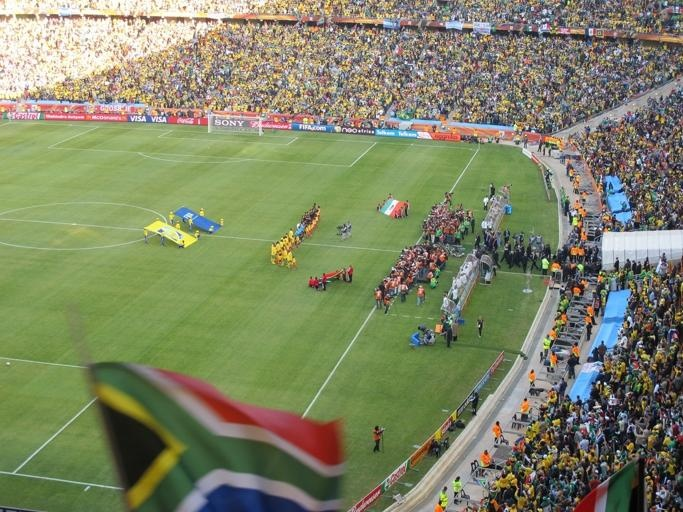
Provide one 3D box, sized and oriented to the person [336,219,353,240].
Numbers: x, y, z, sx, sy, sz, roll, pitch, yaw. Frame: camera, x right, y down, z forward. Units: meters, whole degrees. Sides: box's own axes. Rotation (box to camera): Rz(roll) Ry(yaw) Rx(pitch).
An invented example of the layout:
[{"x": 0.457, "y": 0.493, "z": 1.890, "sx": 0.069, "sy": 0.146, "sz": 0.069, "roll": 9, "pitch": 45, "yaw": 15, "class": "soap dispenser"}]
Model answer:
[{"x": 0.172, "y": -1.726, "z": 61.275, "sx": 0.620, "sy": 1.316, "sz": 0.718, "roll": -37, "pitch": 76, "yaw": -18, "class": "person"}]
